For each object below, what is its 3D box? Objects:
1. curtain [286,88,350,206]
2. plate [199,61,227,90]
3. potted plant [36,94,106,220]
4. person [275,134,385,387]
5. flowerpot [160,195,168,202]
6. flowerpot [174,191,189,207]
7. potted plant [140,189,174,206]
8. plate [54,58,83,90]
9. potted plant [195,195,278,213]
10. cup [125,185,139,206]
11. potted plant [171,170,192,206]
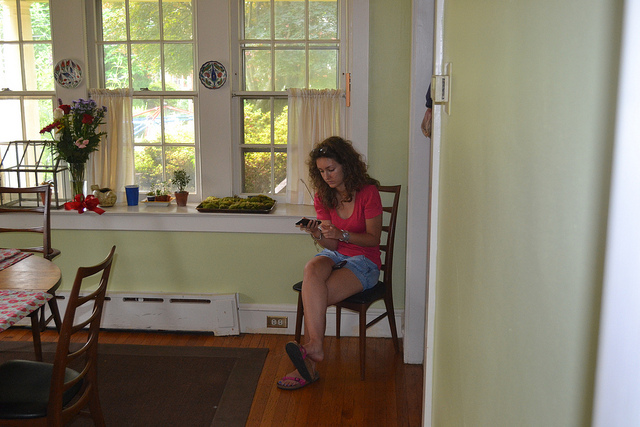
[{"bbox_3d":[-0.017,-0.508,3.665,0.403,0.811,0.081,0,-22,-4],"label":"curtain"},{"bbox_3d":[-0.745,-0.977,3.721,0.176,0.194,0.025,3,3,8],"label":"plate"},{"bbox_3d":[-1.706,-0.373,3.698,0.387,0.723,0.383,-8,1,-14],"label":"potted plant"},{"bbox_3d":[0.085,0.253,3.152,0.599,1.378,0.941,2,14,7],"label":"person"},{"bbox_3d":[-1.129,-0.108,3.841,0.041,0.052,0.036,1,-10,-8],"label":"flowerpot"},{"bbox_3d":[-0.999,-0.107,3.826,0.097,0.087,0.099,-4,4,-21],"label":"flowerpot"},{"bbox_3d":[-1.197,-0.118,3.891,0.202,0.099,0.154,-4,14,-20],"label":"potted plant"},{"bbox_3d":[-1.803,-1.014,3.807,0.188,0.207,0.026,2,6,5],"label":"plate"},{"bbox_3d":[-0.589,-0.066,3.679,0.527,0.086,0.243,1,14,2],"label":"potted plant"},{"bbox_3d":[-1.355,-0.133,3.827,0.122,0.161,0.128,2,0,0],"label":"cup"},{"bbox_3d":[-1.011,-0.197,3.906,0.132,0.248,0.210,-2,14,-12],"label":"potted plant"}]
